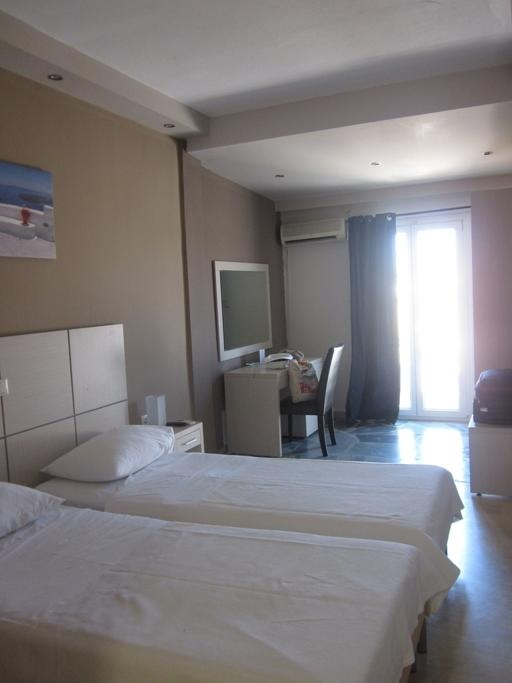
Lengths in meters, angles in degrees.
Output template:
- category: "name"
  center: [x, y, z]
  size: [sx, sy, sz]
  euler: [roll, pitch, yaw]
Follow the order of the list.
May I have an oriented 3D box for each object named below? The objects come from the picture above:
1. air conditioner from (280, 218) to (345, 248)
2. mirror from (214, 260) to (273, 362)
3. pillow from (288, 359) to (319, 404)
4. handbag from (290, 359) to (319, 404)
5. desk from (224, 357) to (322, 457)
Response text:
- category: "air conditioner"
  center: [0.610, -1.204, 5.524]
  size: [0.732, 0.222, 0.128]
  euler: [-1, 2, 23]
- category: "mirror"
  center: [-0.095, -0.313, 4.771]
  size: [0.022, 0.918, 1.204]
  euler: [0, 2, 23]
- category: "pillow"
  center: [0.426, 0.353, 4.442]
  size: [0.336, 0.376, 0.136]
  euler: [-1, -8, -39]
- category: "handbag"
  center: [0.423, 0.358, 4.447]
  size: [0.353, 0.391, 0.143]
  euler: [-1, -8, -44]
- category: "desk"
  center: [-0.009, 0.618, 4.319]
  size: [0.514, 0.716, 0.250]
  euler: [-2, 2, -3]
